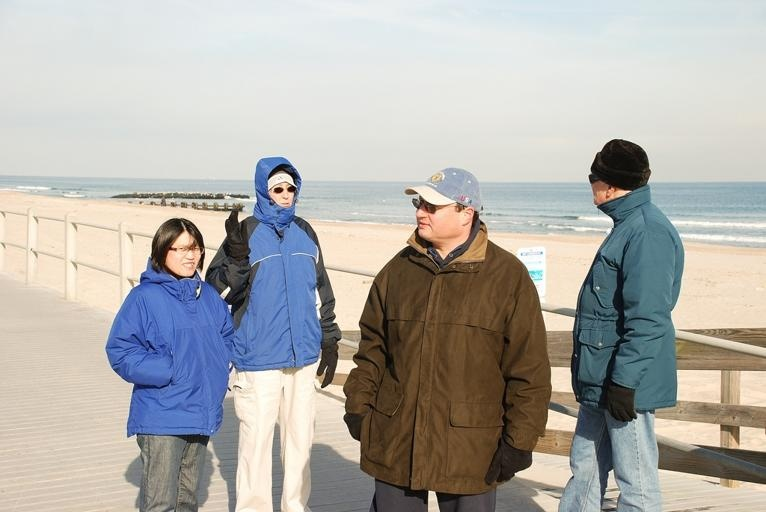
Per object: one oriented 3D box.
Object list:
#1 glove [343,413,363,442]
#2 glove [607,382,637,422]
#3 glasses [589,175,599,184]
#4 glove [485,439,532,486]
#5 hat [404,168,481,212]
[{"bbox_3d":[-0.175,1.037,4.871,0.157,0.151,0.129,3,-5,-36],"label":"glove"},{"bbox_3d":[1.459,0.914,4.914,0.177,0.290,0.182,5,11,17],"label":"glove"},{"bbox_3d":[1.371,-0.498,5.232,0.060,0.044,0.060,1,1,-4],"label":"glasses"},{"bbox_3d":[0.712,1.179,4.546,0.251,0.254,0.100,-5,14,0],"label":"glove"},{"bbox_3d":[0.370,-0.383,4.807,0.367,0.191,0.266,6,0,-12],"label":"hat"}]
